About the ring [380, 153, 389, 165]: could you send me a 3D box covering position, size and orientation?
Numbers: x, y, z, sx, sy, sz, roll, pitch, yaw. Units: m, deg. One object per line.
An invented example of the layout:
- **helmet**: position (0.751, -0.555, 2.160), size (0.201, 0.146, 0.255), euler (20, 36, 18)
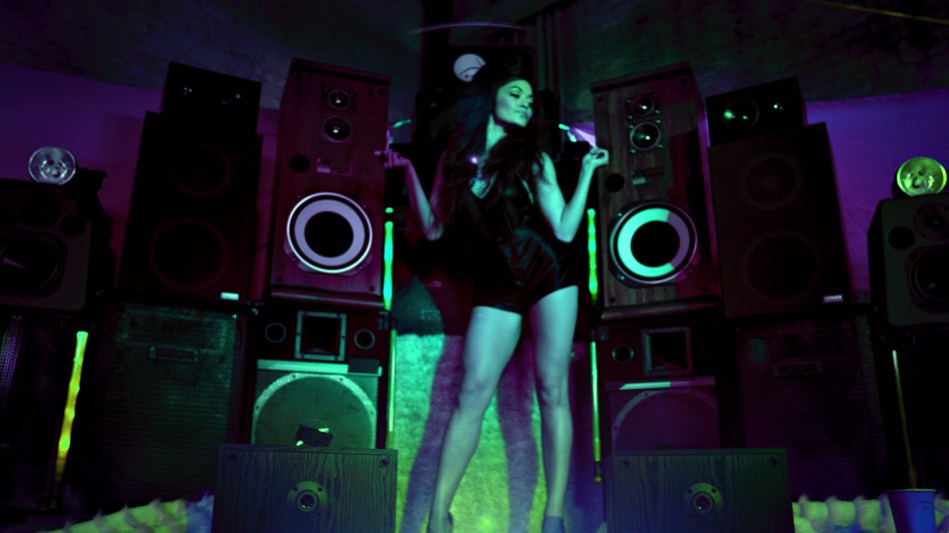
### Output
- **ring**: position (-0.521, -0.628, 3.799), size (0.054, 0.052, 0.013), euler (15, -9, -30)

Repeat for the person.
- **person**: position (0.160, 0.133, 3.441), size (0.994, 2.371, 0.295), euler (1, -15, 10)
